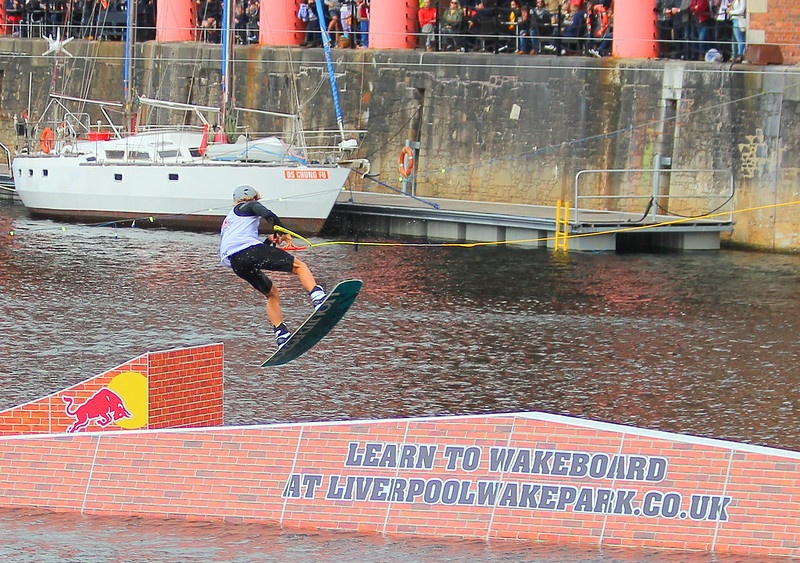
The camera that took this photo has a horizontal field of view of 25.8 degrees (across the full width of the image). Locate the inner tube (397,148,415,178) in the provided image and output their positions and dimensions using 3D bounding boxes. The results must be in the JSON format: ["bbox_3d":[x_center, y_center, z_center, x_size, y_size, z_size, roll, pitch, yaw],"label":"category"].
[{"bbox_3d":[0.117,-3.115,45.862,0.349,0.826,0.665,0,10,0],"label":"inner tube"}]

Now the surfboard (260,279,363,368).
[{"bbox_3d":[-1.370,0.650,27.236,1.370,1.372,0.888,-2,10,-10],"label":"surfboard"}]

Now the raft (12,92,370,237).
[{"bbox_3d":[-7.609,-2.991,45.314,13.858,3.560,3.079,2,11,15],"label":"raft"}]
